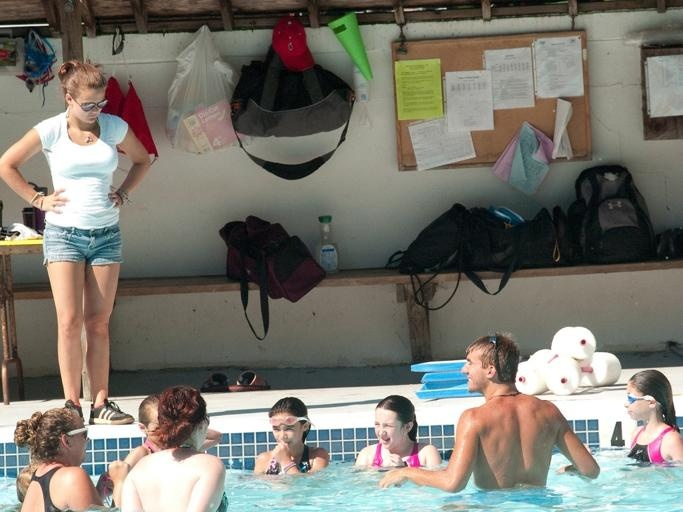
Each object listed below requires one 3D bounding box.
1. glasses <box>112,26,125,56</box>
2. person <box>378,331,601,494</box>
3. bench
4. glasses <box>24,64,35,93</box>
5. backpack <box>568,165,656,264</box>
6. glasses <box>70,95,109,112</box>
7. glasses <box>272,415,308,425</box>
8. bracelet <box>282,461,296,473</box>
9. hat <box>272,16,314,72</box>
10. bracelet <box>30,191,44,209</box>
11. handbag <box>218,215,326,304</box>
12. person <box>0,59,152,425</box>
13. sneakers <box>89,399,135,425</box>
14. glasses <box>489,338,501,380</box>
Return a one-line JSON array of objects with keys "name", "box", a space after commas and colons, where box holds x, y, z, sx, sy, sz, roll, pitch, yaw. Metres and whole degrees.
[{"name": "glasses", "box": [-1.836, -1.745, 8.448, 0.129, 0.206, 0.049, 2, 9, 2]}, {"name": "person", "box": [0.930, 0.986, 6.334, 0.719, 0.915, 0.385, -12, 29, -23]}, {"name": "bench", "box": [0.103, 0.429, 8.157, 5.516, 0.799, 0.986, -1, -1, -5]}, {"name": "glasses", "box": [-2.539, -1.439, 8.408, 0.057, 0.214, 0.083, -5, 19, -4]}, {"name": "backpack", "box": [2.134, -0.292, 8.278, 0.556, 0.810, 0.265, -4, -10, 0]}, {"name": "glasses", "box": [-1.550, -0.935, 6.382, 0.212, 0.102, 0.119, -2, -3, -31]}, {"name": "glasses", "box": [-0.319, 0.995, 6.304, 0.221, 0.070, 0.087, -3, -3, -5]}, {"name": "bracelet", "box": [-0.327, 1.301, 6.368, 0.060, 0.024, 0.062, -45, -12, -1]}, {"name": "hat", "box": [-0.405, -1.711, 8.215, 0.319, 0.520, 0.270, -17, -37, -17]}, {"name": "bracelet", "box": [-1.924, -0.350, 6.508, 0.073, 0.097, 0.048, 10, 0, 5]}, {"name": "handbag", "box": [-0.597, -0.035, 8.341, 0.593, 0.370, 0.939, -24, 40, -29]}, {"name": "person", "box": [-1.658, 0.084, 6.540, 0.908, 1.990, 0.337, -3, -3, -12]}, {"name": "sneakers", "box": [-1.492, 1.007, 6.677, 0.308, 0.143, 0.127, 1, -2, 10]}, {"name": "glasses", "box": [0.864, 0.568, 5.787, 0.044, 0.172, 0.126, -3, -3, 2]}]
